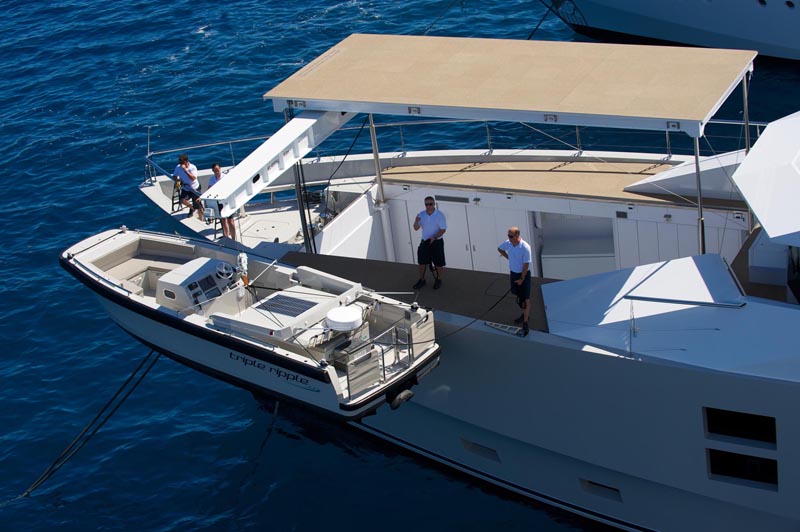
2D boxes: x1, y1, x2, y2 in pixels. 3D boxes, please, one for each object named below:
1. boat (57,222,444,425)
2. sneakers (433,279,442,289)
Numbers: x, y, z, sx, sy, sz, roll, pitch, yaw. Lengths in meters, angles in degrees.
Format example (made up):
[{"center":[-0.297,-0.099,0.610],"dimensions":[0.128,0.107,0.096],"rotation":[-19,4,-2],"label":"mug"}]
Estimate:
[{"center":[-2.849,1.711,24.210],"dimensions":[11.530,3.371,3.775],"rotation":[14,34,26],"label":"boat"},{"center":[0.925,0.419,23.660],"dimensions":[0.114,0.182,0.265],"rotation":[12,57,35],"label":"sneakers"}]
